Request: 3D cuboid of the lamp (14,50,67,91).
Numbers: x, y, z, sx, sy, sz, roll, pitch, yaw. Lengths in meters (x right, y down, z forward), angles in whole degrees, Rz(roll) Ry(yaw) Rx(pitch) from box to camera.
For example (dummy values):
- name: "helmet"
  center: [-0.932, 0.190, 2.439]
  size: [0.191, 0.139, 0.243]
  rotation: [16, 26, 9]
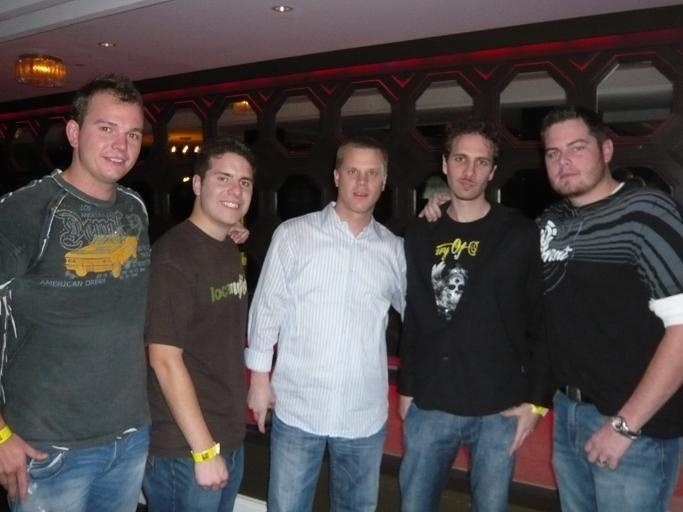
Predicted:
- name: "lamp"
  center: [-2.328, -1.457, 4.631]
  size: [0.379, 0.204, 0.360]
  rotation: [4, 12, 3]

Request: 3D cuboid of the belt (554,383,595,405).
- name: "belt"
  center: [1.006, 0.589, 2.513]
  size: [0.014, 0.070, 0.126]
  rotation: [-11, 14, -33]

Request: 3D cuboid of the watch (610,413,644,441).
- name: "watch"
  center: [1.104, 0.673, 2.298]
  size: [0.109, 0.061, 0.090]
  rotation: [21, 24, -20]
